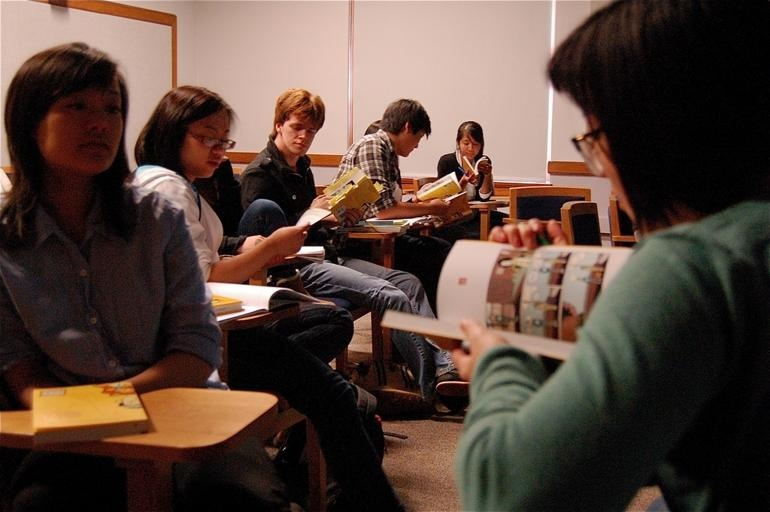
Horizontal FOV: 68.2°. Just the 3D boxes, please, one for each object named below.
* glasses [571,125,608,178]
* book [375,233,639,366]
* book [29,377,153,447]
[{"bbox_3d":[0.286,-0.155,0.818,0.019,0.061,0.064,7,15,43],"label":"glasses"},{"bbox_3d":[0.168,0.030,0.792,0.267,0.102,0.187,4,8,33],"label":"book"},{"bbox_3d":[-0.536,0.283,1.037,0.179,0.036,0.241,-6,13,-29],"label":"book"}]
